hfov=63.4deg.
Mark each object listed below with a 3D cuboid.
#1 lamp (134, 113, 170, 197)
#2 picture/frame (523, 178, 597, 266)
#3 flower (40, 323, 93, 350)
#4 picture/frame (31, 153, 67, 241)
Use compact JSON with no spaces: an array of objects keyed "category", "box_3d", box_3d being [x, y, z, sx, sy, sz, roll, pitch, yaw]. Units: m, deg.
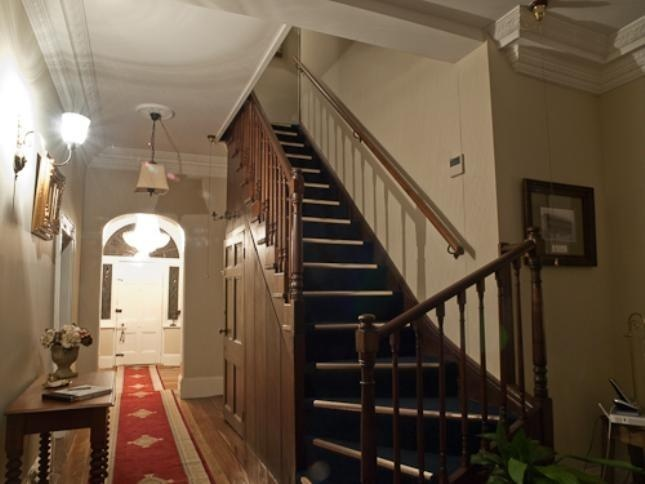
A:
[{"category":"lamp","box_3d":[-2.156,-1.011,6.531,0.356,0.848,1.278,-4,-1,-19]},{"category":"picture/frame","box_3d":[1.990,-0.144,4.444,0.616,0.705,0.051,5,-9,-30]},{"category":"flower","box_3d":[-2.128,0.791,4.351,0.264,0.211,0.277,5,-5,-27]},{"category":"picture/frame","box_3d":[-2.439,-0.356,4.711,0.106,0.718,0.718,4,-6,-16]}]
